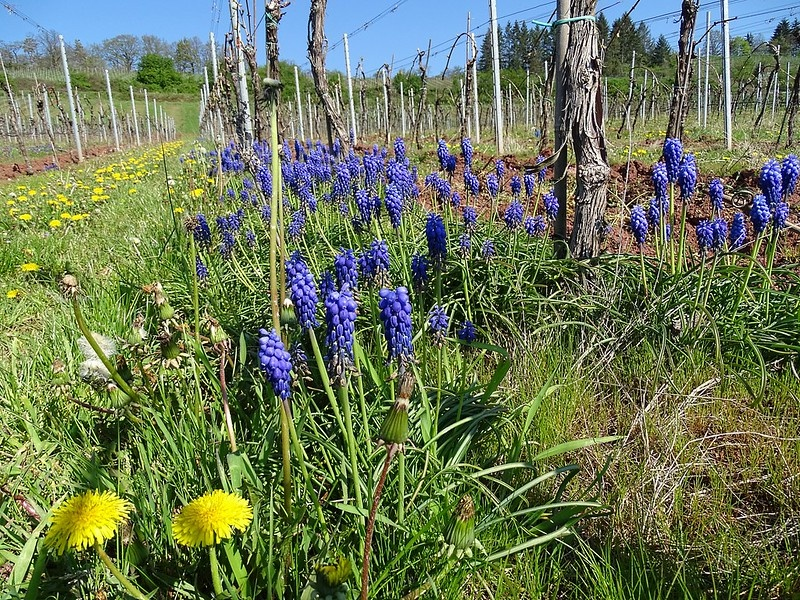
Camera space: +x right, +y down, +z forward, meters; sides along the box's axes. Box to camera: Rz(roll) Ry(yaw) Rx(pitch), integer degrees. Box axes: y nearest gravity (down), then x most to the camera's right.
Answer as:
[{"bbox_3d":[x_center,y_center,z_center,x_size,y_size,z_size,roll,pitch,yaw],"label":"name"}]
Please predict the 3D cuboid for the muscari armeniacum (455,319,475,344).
[{"bbox_3d":[0.378,0.189,3.742,0.077,0.106,0.072,-28,54,-4],"label":"muscari armeniacum"}]

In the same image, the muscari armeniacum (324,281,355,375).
[{"bbox_3d":[-0.234,0.119,2.569,0.088,0.402,0.105,-7,12,-30],"label":"muscari armeniacum"}]

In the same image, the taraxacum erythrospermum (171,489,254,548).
[{"bbox_3d":[-0.741,0.874,2.510,0.300,0.290,0.220,-4,6,-13],"label":"taraxacum erythrospermum"}]

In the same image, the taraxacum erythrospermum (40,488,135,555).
[{"bbox_3d":[-1.225,0.875,2.540,0.260,0.132,0.296,5,24,-2],"label":"taraxacum erythrospermum"}]

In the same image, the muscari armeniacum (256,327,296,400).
[{"bbox_3d":[-0.493,0.257,2.560,0.124,0.338,0.152,-7,18,-14],"label":"muscari armeniacum"}]
